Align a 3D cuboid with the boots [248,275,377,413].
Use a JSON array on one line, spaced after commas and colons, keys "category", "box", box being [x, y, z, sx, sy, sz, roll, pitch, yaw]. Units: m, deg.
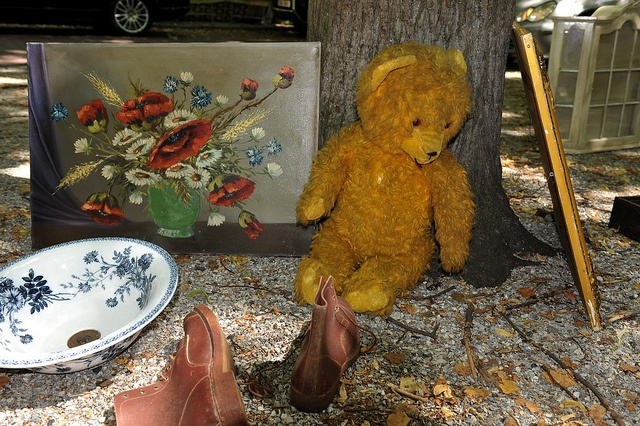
[{"category": "boots", "box": [0.037, 0.681, 3.029, 0.614, 0.566, 0.852, 4, 22, 11]}]
